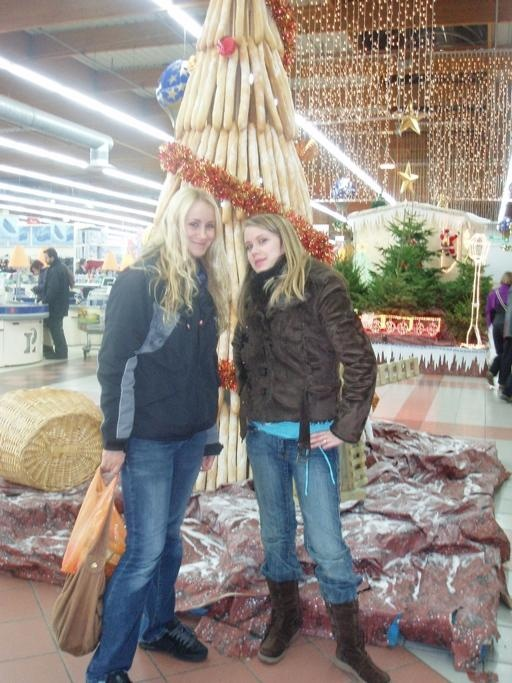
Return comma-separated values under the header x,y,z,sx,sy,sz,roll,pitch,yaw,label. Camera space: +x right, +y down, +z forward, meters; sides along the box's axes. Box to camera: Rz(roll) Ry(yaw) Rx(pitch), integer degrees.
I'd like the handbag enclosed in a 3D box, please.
x,y,z,sx,sy,sz,roll,pitch,yaw,label
-0.423,0.633,1.146,0.122,0.260,0.079,-1,6,-23,handbag

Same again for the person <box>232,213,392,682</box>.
x,y,z,sx,sy,sz,roll,pitch,yaw,label
0.138,0.313,1.384,0.267,1.324,0.576,-3,8,-42,person

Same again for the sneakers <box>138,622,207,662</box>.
x,y,z,sx,sy,sz,roll,pitch,yaw,label
-0.252,0.872,1.445,0.172,0.110,0.103,5,0,17,sneakers

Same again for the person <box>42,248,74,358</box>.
x,y,z,sx,sy,sz,roll,pitch,yaw,label
-3.909,-0.748,9.340,0.482,2.112,0.683,-1,6,-23,person

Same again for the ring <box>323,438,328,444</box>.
x,y,z,sx,sy,sz,roll,pitch,yaw,label
0.177,0.251,1.214,0.014,0.013,0.004,2,5,0,ring
